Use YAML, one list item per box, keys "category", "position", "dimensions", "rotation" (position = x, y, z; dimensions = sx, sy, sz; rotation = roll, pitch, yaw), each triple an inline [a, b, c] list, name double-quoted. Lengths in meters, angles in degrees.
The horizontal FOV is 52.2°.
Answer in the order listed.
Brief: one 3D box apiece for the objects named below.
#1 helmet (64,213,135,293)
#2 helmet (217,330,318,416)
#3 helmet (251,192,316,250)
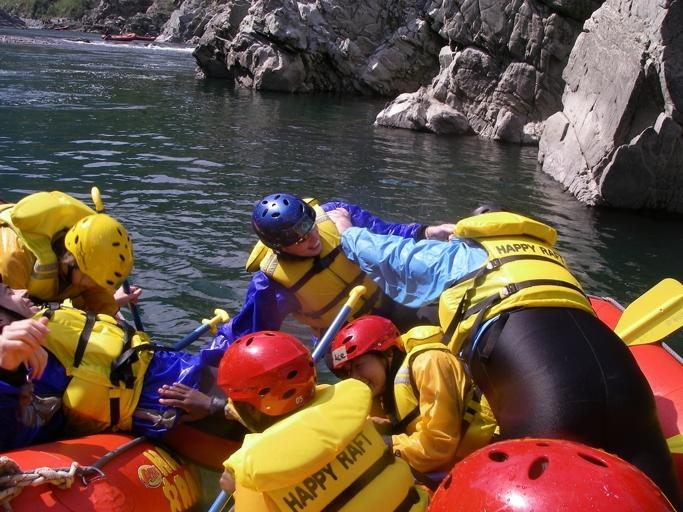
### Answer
- category: "helmet"
  position: [-1.988, -0.088, 5.690]
  dimensions: [0.649, 0.547, 0.488]
  rotation: [22, 22, 31]
- category: "helmet"
  position: [-0.490, 0.711, 4.513]
  dimensions: [0.602, 0.492, 0.471]
  rotation: [6, 28, 4]
- category: "helmet"
  position: [-0.491, -0.268, 5.807]
  dimensions: [0.273, 0.396, 0.520]
  rotation: [44, -25, -27]
